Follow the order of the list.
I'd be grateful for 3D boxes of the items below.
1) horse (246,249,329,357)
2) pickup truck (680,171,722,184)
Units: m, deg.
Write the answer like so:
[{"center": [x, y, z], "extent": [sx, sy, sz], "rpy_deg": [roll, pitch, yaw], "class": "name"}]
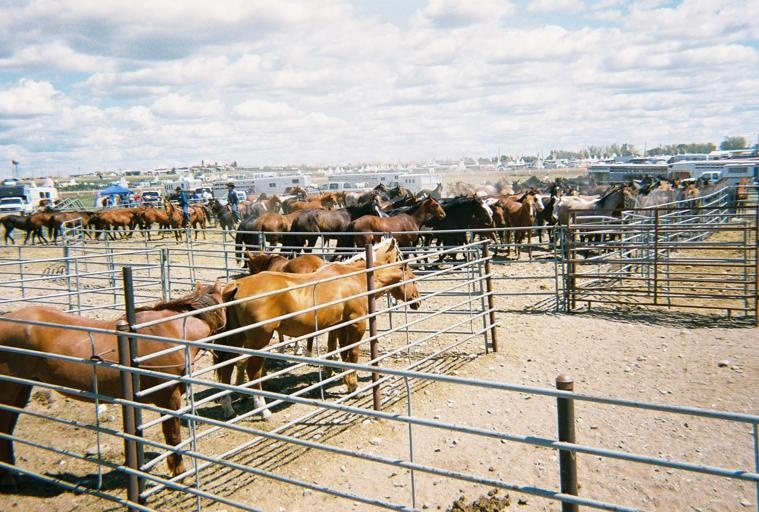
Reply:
[{"center": [-1.616, 0.510, 9.073], "extent": [0.494, 1.198, 1.976], "rpy_deg": [1, 4, 33], "class": "horse"}, {"center": [23.960, -5.865, 39.935], "extent": [1.944, 0.927, 13.397], "rpy_deg": [0, 7, 32], "class": "pickup truck"}]
